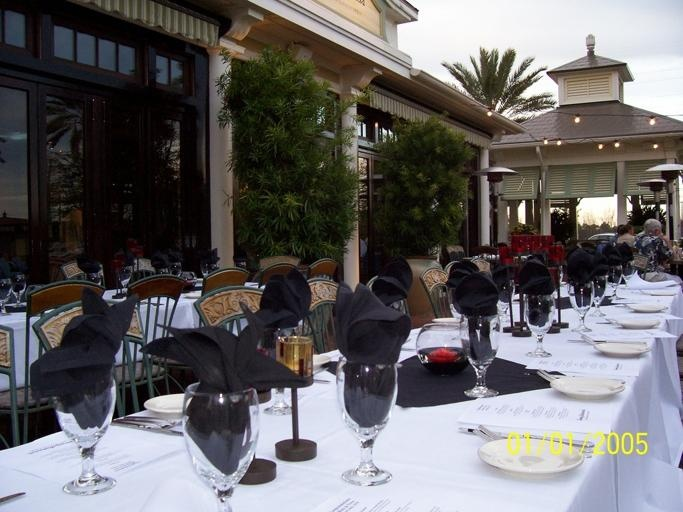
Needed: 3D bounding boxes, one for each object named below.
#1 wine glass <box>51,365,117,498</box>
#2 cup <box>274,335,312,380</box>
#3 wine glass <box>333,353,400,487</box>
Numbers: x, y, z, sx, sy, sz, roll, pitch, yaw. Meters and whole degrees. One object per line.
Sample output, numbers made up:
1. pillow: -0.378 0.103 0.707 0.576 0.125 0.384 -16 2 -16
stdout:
1. wine glass: -0.525 0.347 1.124 0.109 0.227 0.189 -2 3 -20
2. cup: -0.120 0.264 1.488 0.104 0.133 0.109 1 1 0
3. wine glass: 0.044 0.321 1.101 0.112 0.247 0.148 -1 3 -11
